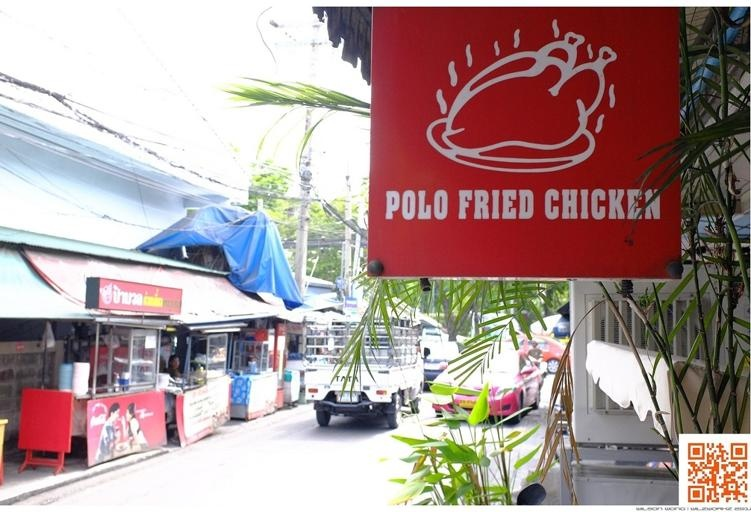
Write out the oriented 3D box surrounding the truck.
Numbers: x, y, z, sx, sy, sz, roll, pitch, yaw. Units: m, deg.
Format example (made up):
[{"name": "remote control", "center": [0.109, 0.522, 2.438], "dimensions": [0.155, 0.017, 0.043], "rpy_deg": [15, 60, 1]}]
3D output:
[{"name": "truck", "center": [-0.344, 2.381, 12.163], "dimensions": [2.055, 2.202, 3.862], "rpy_deg": [-1, -3, 16]}]
